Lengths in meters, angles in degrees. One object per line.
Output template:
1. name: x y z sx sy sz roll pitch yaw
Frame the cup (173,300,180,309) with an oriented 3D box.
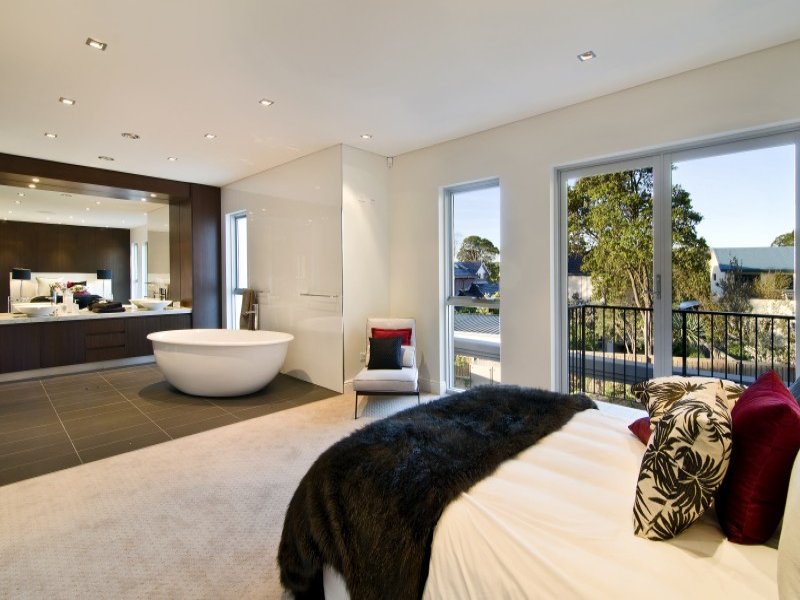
1. cup: -3.202 0.071 7.704 0.109 0.113 0.113 -3 -11 0

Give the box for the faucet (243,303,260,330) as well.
1. faucet: -1.951 0.212 7.060 0.183 0.325 0.110 0 12 -1

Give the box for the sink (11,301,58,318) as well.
1. sink: -4.480 0.110 6.603 0.561 0.160 0.395 6 14 27

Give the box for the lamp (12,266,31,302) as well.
1. lamp: -4.741 -0.208 6.757 0.205 0.397 0.106 -9 15 -37

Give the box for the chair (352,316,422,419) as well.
1. chair: -0.121 0.638 5.559 0.603 0.888 1.003 0 5 4
